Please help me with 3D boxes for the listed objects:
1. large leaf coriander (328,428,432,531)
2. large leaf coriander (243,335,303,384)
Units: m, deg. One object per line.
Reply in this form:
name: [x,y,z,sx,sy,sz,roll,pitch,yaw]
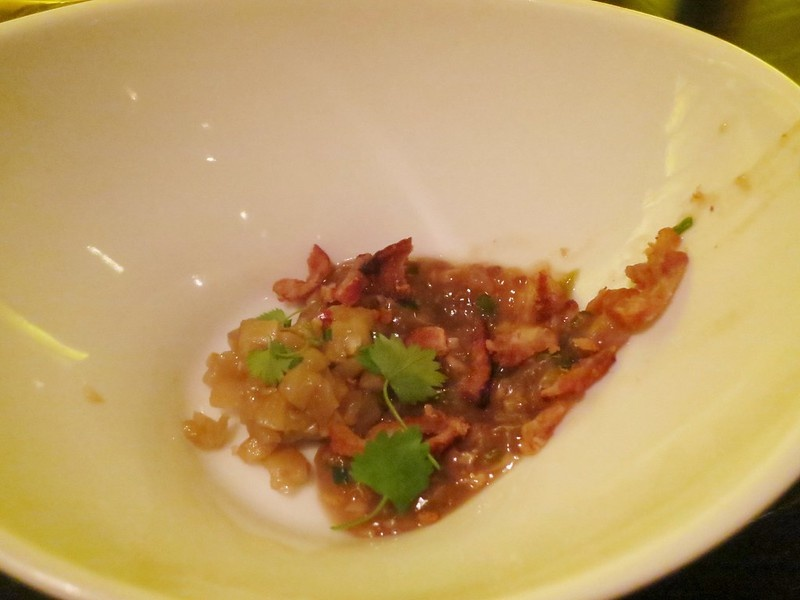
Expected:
large leaf coriander: [-0.031,0.373,1.769,0.149,0.048,0.269,35,100,2]
large leaf coriander: [-0.280,0.137,1.848,0.104,0.043,0.101,36,77,12]
